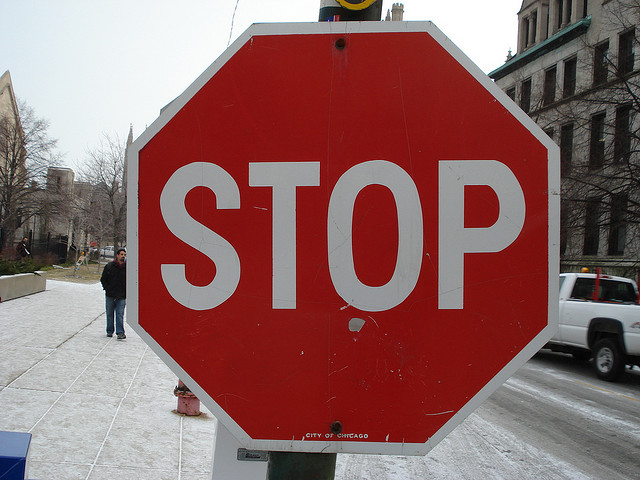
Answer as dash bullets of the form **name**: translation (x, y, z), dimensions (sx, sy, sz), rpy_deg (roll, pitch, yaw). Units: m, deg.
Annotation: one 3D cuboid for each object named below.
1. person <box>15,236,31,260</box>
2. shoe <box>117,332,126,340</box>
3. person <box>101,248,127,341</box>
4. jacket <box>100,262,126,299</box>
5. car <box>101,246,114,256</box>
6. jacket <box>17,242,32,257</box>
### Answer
- **person**: translation (-12.809, 0.428, 23.533), dimensions (0.413, 0.911, 3.757), rpy_deg (4, -1, -27)
- **shoe**: translation (-4.296, 2.060, 11.800), dimensions (0.144, 0.119, 0.230), rpy_deg (5, -2, -21)
- **person**: translation (-4.531, 1.181, 12.114), dimensions (0.585, 1.617, 0.989), rpy_deg (4, -2, -24)
- **jacket**: translation (-4.590, 0.903, 12.143), dimensions (0.495, 0.640, 0.504), rpy_deg (4, -2, -10)
- **car**: translation (-26.198, 1.413, 67.343), dimensions (2.501, 1.466, 1.517), rpy_deg (-2, -3, 41)
- **jacket**: translation (-13.872, 0.464, 25.657), dimensions (0.550, 0.849, 0.176), rpy_deg (21, 26, 27)
